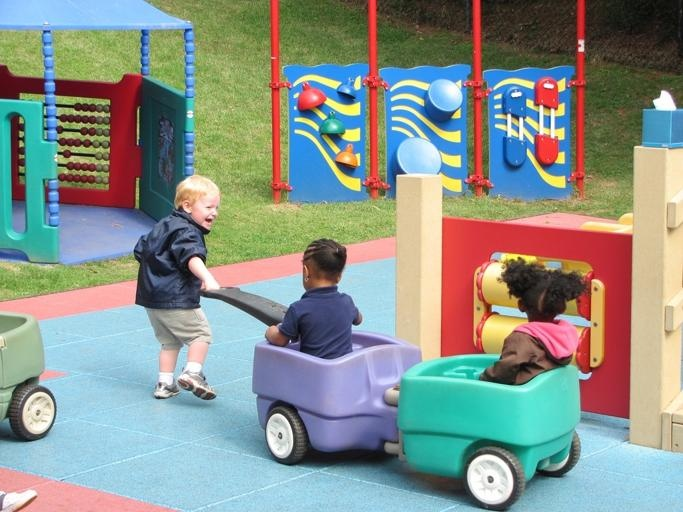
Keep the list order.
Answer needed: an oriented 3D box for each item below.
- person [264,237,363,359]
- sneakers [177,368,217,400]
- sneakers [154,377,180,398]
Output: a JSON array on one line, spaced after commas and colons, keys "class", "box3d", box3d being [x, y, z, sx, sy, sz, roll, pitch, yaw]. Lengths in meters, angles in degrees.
[{"class": "person", "box3d": [-0.157, 0.306, 7.150, 0.641, 0.887, 0.506, -4, 14, -18]}, {"class": "sneakers", "box3d": [-1.022, 0.913, 7.854, 0.132, 0.156, 0.351, -24, -49, 28]}, {"class": "sneakers", "box3d": [-1.274, 0.974, 8.075, 0.086, 0.109, 0.241, 5, 4, 16]}]
